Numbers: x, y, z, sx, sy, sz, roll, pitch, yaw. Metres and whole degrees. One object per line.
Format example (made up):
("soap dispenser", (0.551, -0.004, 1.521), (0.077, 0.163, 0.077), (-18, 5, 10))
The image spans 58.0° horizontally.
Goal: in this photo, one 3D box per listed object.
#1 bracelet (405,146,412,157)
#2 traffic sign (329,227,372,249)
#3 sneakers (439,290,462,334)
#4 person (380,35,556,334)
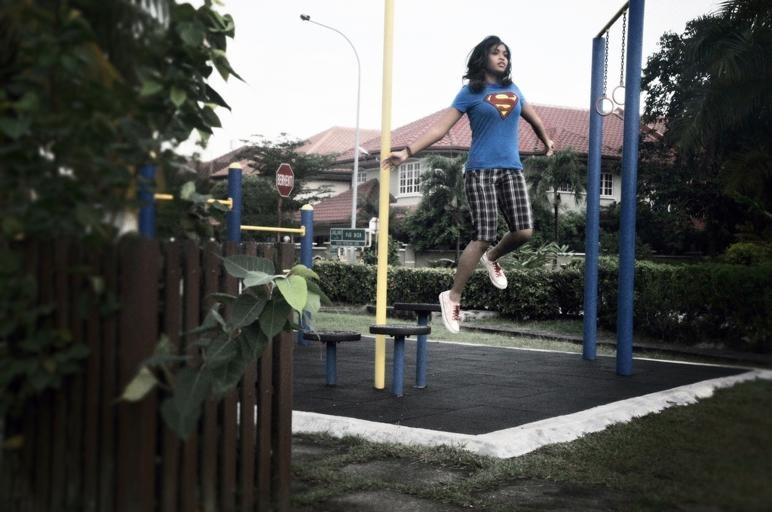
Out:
("bracelet", (0.182, -0.841, 5.630), (0.046, 0.075, 0.076), (0, -9, 15))
("traffic sign", (-0.996, -0.515, 19.930), (0.921, 0.521, 1.303), (2, -2, -41))
("sneakers", (0.580, 0.510, 6.277), (0.159, 0.440, 0.151), (-16, -6, 43))
("person", (0.827, -0.596, 6.026), (1.491, 2.535, 0.706), (2, -2, -30))
